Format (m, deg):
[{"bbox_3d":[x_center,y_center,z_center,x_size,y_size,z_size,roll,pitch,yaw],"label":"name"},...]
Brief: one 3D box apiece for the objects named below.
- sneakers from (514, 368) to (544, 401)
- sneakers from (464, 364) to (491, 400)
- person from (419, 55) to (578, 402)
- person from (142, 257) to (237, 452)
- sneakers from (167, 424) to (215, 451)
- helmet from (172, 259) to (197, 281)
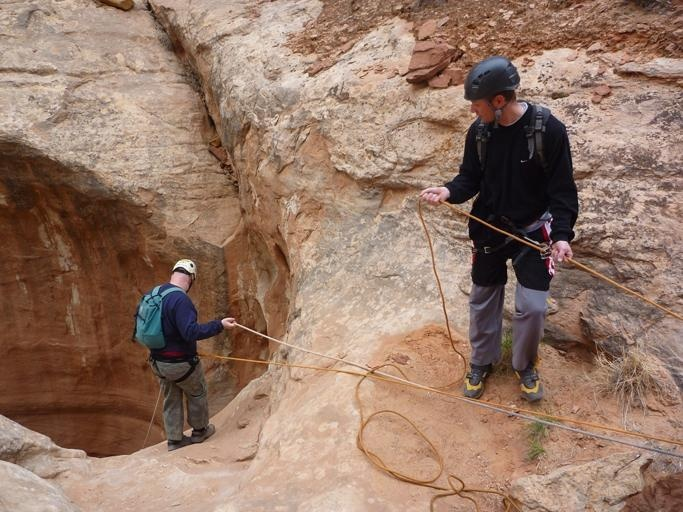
[{"bbox_3d":[1.389,0.901,5.215,0.119,0.136,0.314,-13,42,2],"label":"sneakers"},{"bbox_3d":[1.012,0.952,5.372,0.119,0.148,0.325,17,73,30],"label":"sneakers"},{"bbox_3d":[1.166,-0.152,5.025,0.973,2.347,0.664,8,29,27],"label":"person"},{"bbox_3d":[-1.468,1.071,6.554,0.677,1.809,0.625,-15,27,-18],"label":"person"},{"bbox_3d":[-1.447,1.786,6.897,0.155,0.187,0.470,17,27,39],"label":"sneakers"},{"bbox_3d":[-1.504,0.143,6.827,0.167,0.212,0.206,3,60,-2],"label":"helmet"}]
